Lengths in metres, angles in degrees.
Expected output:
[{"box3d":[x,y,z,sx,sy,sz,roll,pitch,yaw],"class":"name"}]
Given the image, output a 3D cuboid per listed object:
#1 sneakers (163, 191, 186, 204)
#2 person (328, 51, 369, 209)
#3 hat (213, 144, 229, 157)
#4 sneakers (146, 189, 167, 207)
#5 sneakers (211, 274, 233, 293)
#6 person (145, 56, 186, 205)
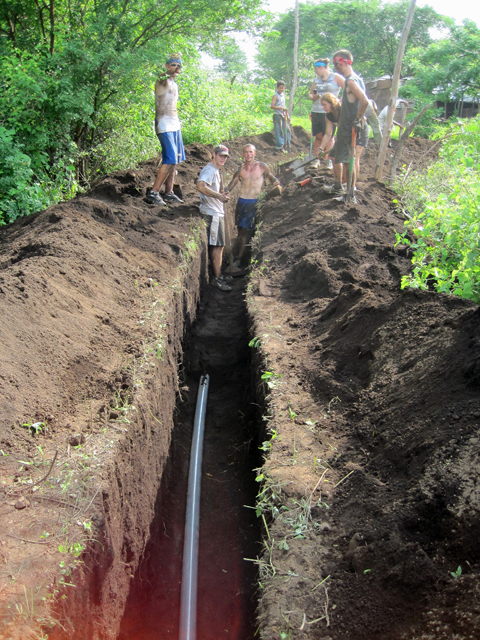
[{"box3d":[-1.009,-1.847,8.205,0.371,0.219,0.129,-2,54,-13],"class":"sneakers"},{"box3d":[1.443,-2.598,7.423,0.524,1.970,1.492,6,15,9],"class":"person"},{"box3d":[-0.262,-2.319,7.529,0.191,0.209,0.231,3,41,-14],"class":"hat"},{"box3d":[-1.164,-1.715,7.697,0.381,0.172,0.131,-2,42,-47],"class":"sneakers"},{"box3d":[-0.326,-0.572,8.662,0.442,0.190,0.155,25,47,24],"class":"sneakers"},{"box3d":[-1.047,-2.582,7.646,0.511,1.871,1.124,2,15,-6],"class":"person"}]
